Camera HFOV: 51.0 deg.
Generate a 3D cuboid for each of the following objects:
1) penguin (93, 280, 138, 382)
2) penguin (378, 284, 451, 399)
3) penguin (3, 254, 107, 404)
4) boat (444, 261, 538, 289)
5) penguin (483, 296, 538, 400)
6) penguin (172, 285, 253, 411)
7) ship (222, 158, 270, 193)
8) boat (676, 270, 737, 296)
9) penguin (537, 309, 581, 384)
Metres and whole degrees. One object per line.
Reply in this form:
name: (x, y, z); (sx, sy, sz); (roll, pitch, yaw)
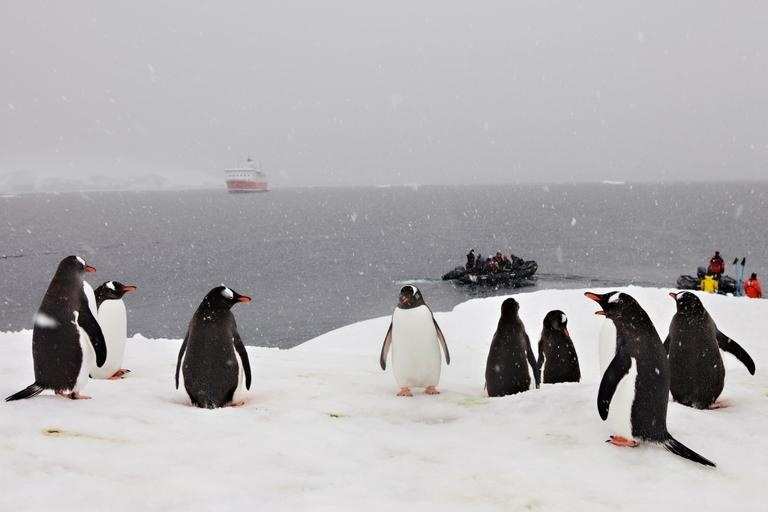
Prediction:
penguin: (-4.203, 1.093, 11.917); (0.873, 1.455, 0.860); (-4, -3, 15)
penguin: (0.427, 1.207, 11.724); (1.086, 1.525, 0.876); (-5, -1, 3)
penguin: (-4.340, 1.018, 10.819); (1.235, 2.031, 1.045); (5, -3, 29)
boat: (5.642, 1.036, 40.021); (2.268, 0.518, 2.174); (-5, 1, -13)
penguin: (1.740, 1.285, 11.598); (0.722, 1.404, 0.746); (3, -2, 1)
penguin: (-2.206, 1.211, 10.572); (0.889, 1.579, 0.497); (-2, 14, -20)
ship: (-22.372, -12.977, 129.390); (5.370, 6.368, 11.332); (2, 12, -3)
boat: (10.515, 0.896, 26.364); (2.063, 0.671, 1.504); (-1, -3, 26)
penguin: (2.541, 1.460, 12.060); (0.599, 1.471, 0.596); (-7, 23, 9)
